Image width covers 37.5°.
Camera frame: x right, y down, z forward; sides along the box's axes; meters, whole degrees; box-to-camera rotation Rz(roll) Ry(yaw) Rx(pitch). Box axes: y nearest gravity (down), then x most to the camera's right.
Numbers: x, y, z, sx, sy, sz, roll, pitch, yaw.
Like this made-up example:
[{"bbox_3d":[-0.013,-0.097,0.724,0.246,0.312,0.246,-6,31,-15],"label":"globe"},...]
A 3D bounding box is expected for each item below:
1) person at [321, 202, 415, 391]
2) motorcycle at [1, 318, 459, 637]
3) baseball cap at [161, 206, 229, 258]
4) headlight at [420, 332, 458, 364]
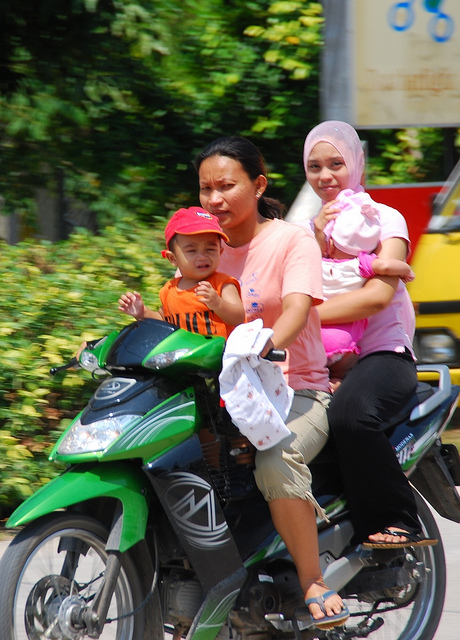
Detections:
[{"bbox_3d":[0.511,-0.107,2.880,0.427,0.780,0.367,-3,22,-15],"label":"person"},{"bbox_3d":[0.069,0.653,2.827,2.290,1.208,0.905,4,-12,-32],"label":"motorcycle"},{"bbox_3d":[-0.125,-0.294,2.262,0.162,0.099,0.216,4,-16,-31],"label":"baseball cap"},{"bbox_3d":[1.546,0.201,5.034,0.288,0.211,0.139,0,-3,-1],"label":"headlight"}]
